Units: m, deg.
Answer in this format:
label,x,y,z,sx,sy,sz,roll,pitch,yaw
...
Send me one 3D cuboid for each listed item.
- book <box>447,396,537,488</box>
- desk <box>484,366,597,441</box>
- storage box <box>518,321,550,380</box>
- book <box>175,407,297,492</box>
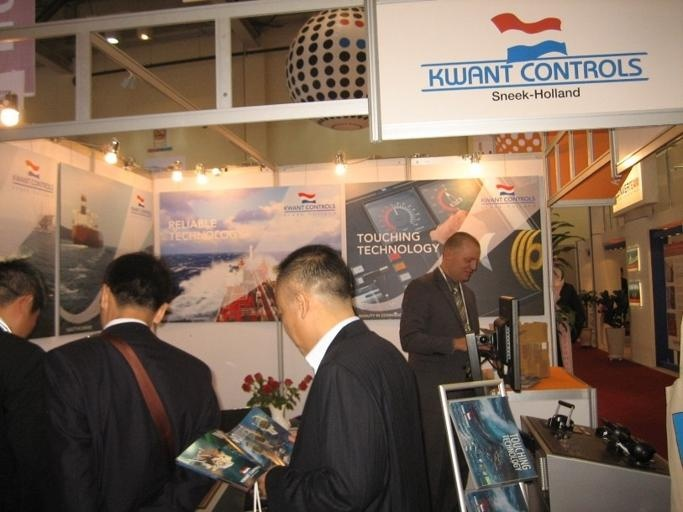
label,x,y,z,sx,sy,sz,roll,pitch,yaw
book,0.642,0.797,2.392,0.365,0.398,0.080,0,-27,-26
desk,1.590,1.046,4.185,0.536,0.366,0.576,1,10,7
storage box,1.517,0.773,4.438,0.305,0.440,0.310,-4,-8,40
book,-0.425,0.826,2.285,0.301,0.111,0.499,16,8,16
